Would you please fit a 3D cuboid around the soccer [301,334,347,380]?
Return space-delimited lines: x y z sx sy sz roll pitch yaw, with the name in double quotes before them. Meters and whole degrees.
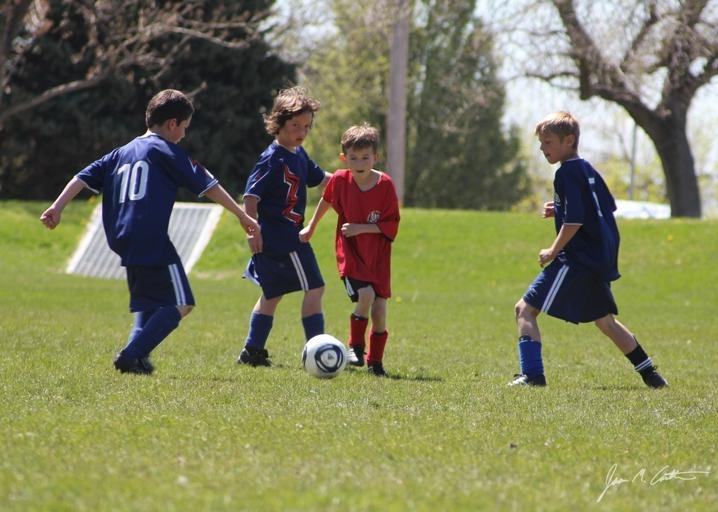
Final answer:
"soccer" -0.440 1.318 15.838 0.629 0.657 0.649 2 -1 29

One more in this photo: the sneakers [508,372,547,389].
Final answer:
"sneakers" 2.258 1.646 15.823 0.560 0.251 0.195 4 -7 1

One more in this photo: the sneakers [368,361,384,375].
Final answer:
"sneakers" 0.238 1.495 15.983 0.222 0.226 0.129 -4 1 10

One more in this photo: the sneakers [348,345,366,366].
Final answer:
"sneakers" -0.027 1.356 16.329 0.303 0.214 0.159 16 13 43
